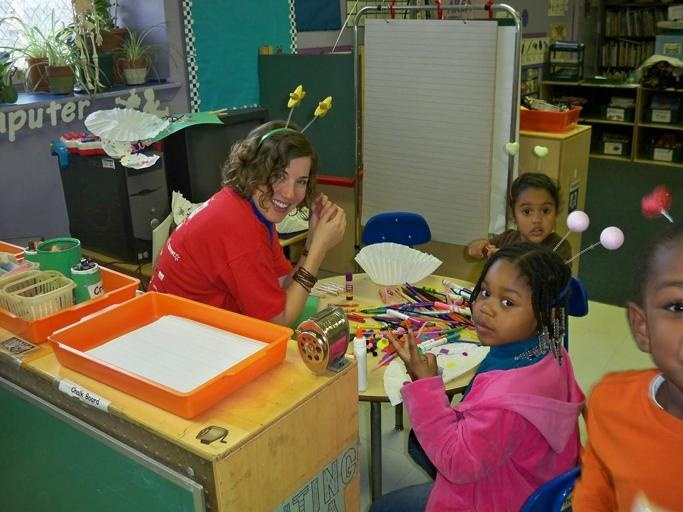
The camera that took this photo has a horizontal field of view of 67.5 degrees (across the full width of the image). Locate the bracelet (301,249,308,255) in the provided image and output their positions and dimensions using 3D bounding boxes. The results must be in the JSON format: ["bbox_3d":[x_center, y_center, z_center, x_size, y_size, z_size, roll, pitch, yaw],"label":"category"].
[{"bbox_3d":[-0.140,-0.013,1.954,0.023,0.025,0.030,1,-1,14],"label":"bracelet"}]

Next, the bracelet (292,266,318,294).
[{"bbox_3d":[-0.124,0.084,1.810,0.083,0.062,0.084,54,9,27],"label":"bracelet"}]

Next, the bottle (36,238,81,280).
[{"bbox_3d":[-0.720,-0.008,1.341,0.103,0.104,0.105,-2,21,-15],"label":"bottle"}]

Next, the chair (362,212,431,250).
[{"bbox_3d":[0.276,-0.133,2.559,0.237,0.209,0.237,-3,27,-3],"label":"chair"}]

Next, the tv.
[{"bbox_3d":[-0.560,-0.398,2.174,0.166,0.429,0.485,28,46,25],"label":"tv"}]
